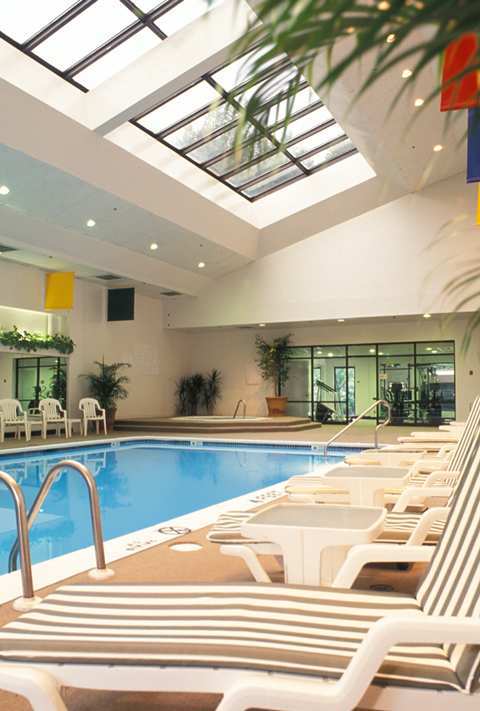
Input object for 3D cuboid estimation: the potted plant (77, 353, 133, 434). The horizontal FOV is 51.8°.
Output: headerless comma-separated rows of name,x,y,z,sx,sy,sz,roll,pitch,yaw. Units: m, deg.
potted plant,-3.828,1.291,14.514,1.063,1.519,1.050,7,-7,-38
